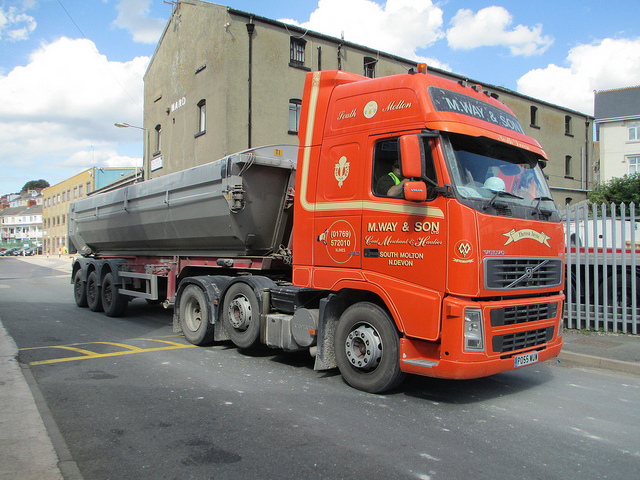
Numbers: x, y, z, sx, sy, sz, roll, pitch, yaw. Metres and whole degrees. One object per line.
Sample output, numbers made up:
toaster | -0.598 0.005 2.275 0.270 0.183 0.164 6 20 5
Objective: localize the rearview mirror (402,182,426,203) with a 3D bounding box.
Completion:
rearview mirror | 1.178 -0.599 5.862 0.329 0.338 0.200 0 4 1

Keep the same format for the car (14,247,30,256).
car | -53.528 2.263 83.126 1.591 0.889 2.985 -1 1 -9

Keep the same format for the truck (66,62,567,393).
truck | -1.038 0.104 11.171 4.177 5.672 12.748 1 -3 -40
